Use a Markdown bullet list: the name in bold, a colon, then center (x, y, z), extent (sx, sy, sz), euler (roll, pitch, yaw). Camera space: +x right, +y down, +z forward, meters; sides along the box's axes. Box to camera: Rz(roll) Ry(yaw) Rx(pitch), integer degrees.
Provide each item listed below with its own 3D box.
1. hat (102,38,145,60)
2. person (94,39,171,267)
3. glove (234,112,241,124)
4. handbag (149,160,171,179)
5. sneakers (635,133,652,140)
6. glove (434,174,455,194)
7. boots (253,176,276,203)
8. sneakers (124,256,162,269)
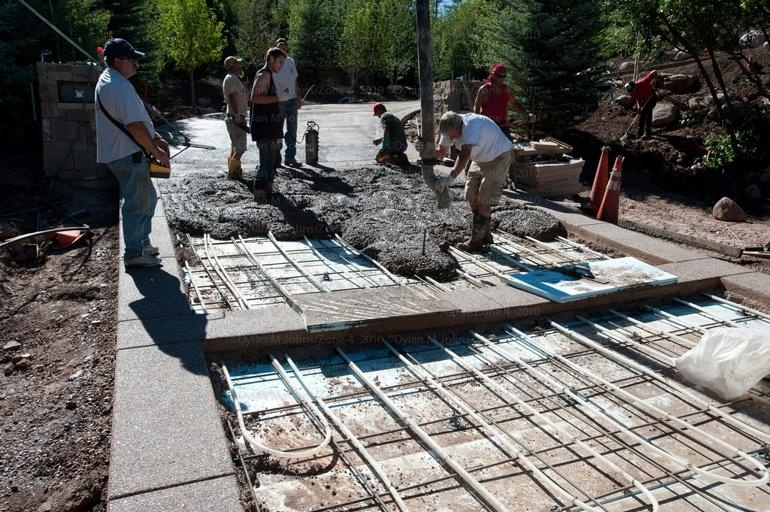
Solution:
- **hat**: center (-2.669, -2.106, 4.913), extent (0.336, 0.212, 0.319), euler (-8, 22, -25)
- **person**: center (-2.635, -1.043, 5.069), extent (0.683, 2.331, 0.695), euler (-8, 25, -23)
- **glove**: center (-2.503, -2.338, 8.188), extent (0.173, 0.140, 0.037), euler (7, 7, 0)
- **handbag**: center (-2.438, -0.946, 5.249), extent (0.210, 0.107, 0.191), euler (1, 18, -16)
- **sneakers**: center (6.856, -3.179, 12.803), extent (0.391, 0.111, 0.276), euler (2, -2, 42)
- **glove**: center (0.729, -0.904, 5.950), extent (0.203, 0.229, 0.275), euler (3, 20, 2)
- **boots**: center (-1.886, -1.037, 7.484), extent (0.277, 0.337, 0.396), euler (-2, 20, -9)
- **sneakers**: center (-2.615, 0.055, 5.266), extent (0.380, 0.124, 0.126), euler (-6, 20, -19)
